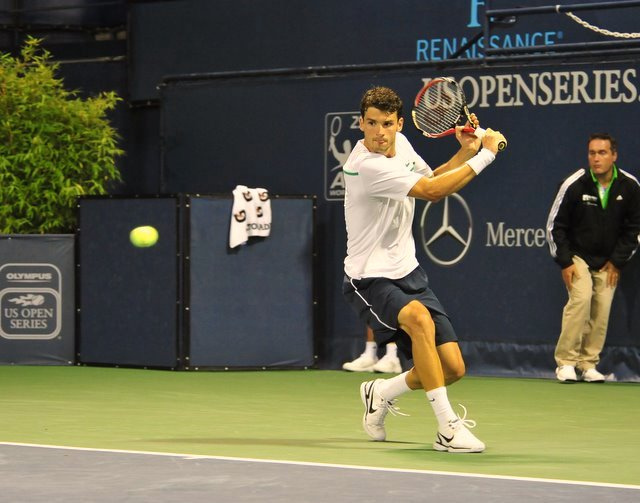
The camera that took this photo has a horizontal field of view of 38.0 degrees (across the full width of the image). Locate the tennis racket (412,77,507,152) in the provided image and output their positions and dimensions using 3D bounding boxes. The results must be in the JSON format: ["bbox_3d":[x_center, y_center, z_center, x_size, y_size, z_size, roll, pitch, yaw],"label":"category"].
[{"bbox_3d":[1.071,-1.013,6.819,0.116,0.371,0.919,3,17,-37],"label":"tennis racket"}]

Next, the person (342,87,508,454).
[{"bbox_3d":[0.552,0.102,5.376,0.829,2.039,0.533,1,3,4],"label":"person"}]

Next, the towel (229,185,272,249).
[{"bbox_3d":[-0.617,-0.303,8.373,0.420,0.533,0.192,1,-3,-9],"label":"towel"}]

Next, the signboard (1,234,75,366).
[{"bbox_3d":[-2.668,0.521,8.859,1.256,1.298,0.098,0,-1,4],"label":"signboard"}]

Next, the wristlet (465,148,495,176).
[{"bbox_3d":[0.897,-0.486,5.147,0.115,0.155,0.073,43,4,-2],"label":"wristlet"}]
